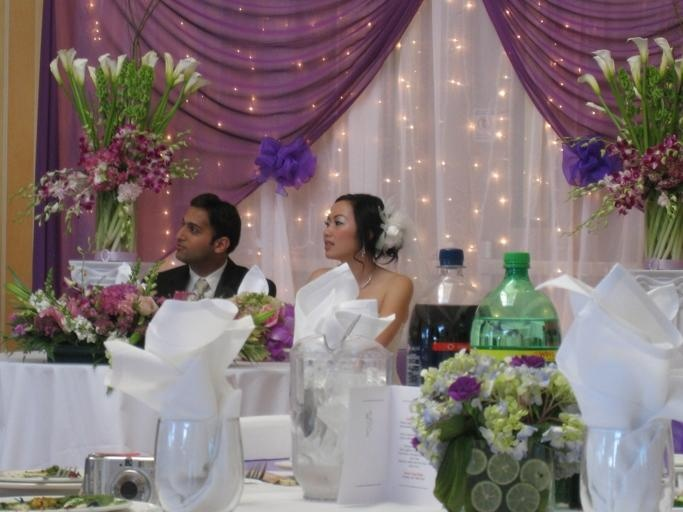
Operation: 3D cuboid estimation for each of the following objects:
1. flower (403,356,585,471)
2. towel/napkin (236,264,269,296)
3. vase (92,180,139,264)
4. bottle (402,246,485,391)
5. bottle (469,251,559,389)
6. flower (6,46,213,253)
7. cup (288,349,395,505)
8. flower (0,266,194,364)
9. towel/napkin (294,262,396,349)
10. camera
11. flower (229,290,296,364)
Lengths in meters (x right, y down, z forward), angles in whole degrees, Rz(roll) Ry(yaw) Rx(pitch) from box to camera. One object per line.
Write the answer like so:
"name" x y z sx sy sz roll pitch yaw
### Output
"flower" 0.273 0.264 1.710 0.206 0.192 0.218 2 19 0
"towel/napkin" -0.346 0.102 3.488 0.086 0.140 0.041 1 -13 10
"vase" -0.971 -0.131 3.889 0.173 0.321 0.223 2 -9 -17
"bottle" 0.323 0.234 2.673 0.245 0.497 0.258 3 -6 0
"bottle" 0.404 0.142 2.073 0.210 0.406 0.222 2 -5 0
"flower" -0.999 -0.427 4.040 0.625 0.953 0.739 -1 0 41
"cup" -0.016 0.335 1.835 0.174 0.315 0.183 2 -6 0
"flower" -0.897 0.229 3.161 0.402 0.228 0.442 2 -4 -5
"towel/napkin" 0.002 0.099 1.944 0.196 0.195 0.359 1 -9 -7
"camera" -0.485 0.508 1.985 0.175 0.141 0.097 6 -6 -39
"flower" -0.262 0.272 3.281 0.242 0.301 0.264 1 -1 16
